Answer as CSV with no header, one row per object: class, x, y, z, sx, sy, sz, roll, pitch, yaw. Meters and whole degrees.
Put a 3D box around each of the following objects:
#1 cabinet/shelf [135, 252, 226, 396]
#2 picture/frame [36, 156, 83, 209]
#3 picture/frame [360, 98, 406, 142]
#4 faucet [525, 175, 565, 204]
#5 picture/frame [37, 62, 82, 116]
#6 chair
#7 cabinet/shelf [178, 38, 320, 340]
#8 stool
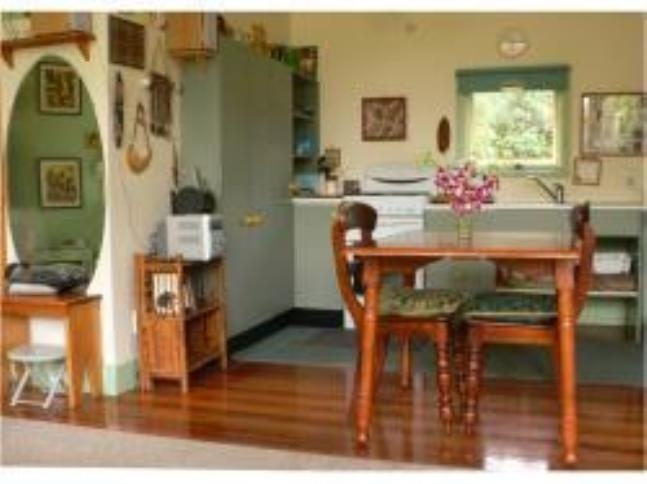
cabinet/shelf,-0.776,0.404,3.071,0.242,0.634,0.645,1,0,8
picture/frame,-1.367,-0.304,2.895,0.237,0.255,0.057,2,2,11
picture/frame,0.324,-0.660,2.963,0.222,0.229,0.054,1,1,13
faucet,1.177,-0.285,3.136,0.315,0.189,0.106,4,7,18
picture/frame,-1.336,-0.794,2.831,0.232,0.282,0.020,7,16,14
chair,0.526,0.258,2.432,1.016,0.856,1.063,-1,1,11
cabinet/shelf,-0.507,-0.332,3.392,0.751,1.755,0.320,-3,7,-22
stool,-1.414,0.669,2.850,0.292,0.235,0.316,2,-7,2
